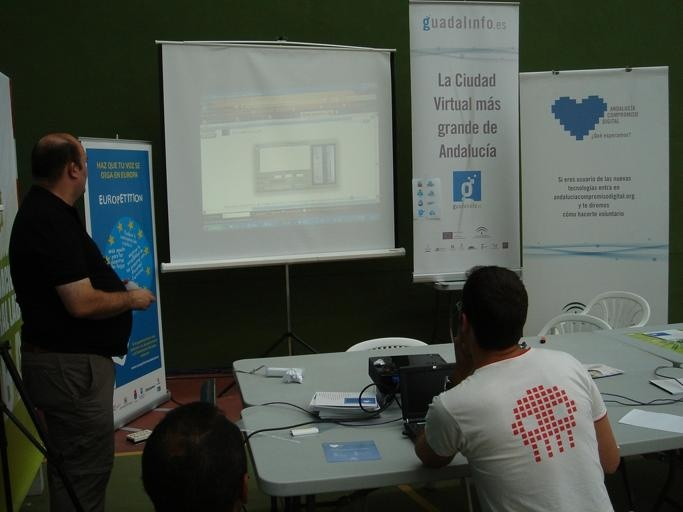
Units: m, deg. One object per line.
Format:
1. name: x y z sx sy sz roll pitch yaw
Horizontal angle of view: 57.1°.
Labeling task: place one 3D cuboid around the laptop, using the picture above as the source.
1. laptop: 0.447 0.714 2.855 0.326 0.335 0.298 -4 34 4

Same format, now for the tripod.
1. tripod: -0.408 0.483 5.267 0.529 0.882 0.566 -3 8 -15
